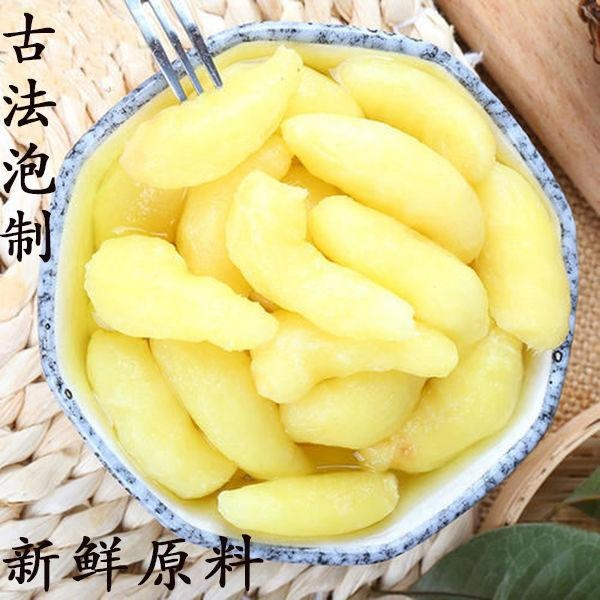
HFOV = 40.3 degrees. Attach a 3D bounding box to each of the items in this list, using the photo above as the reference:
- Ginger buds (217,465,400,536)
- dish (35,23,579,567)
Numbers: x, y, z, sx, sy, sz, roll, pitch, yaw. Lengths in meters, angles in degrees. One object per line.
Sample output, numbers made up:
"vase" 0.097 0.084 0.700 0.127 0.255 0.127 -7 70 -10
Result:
"Ginger buds" 0.005 0.224 0.978 0.226 0.064 0.070 -4 84 -10
"dish" 0.033 0.006 1.056 0.683 0.221 0.619 10 100 -7
